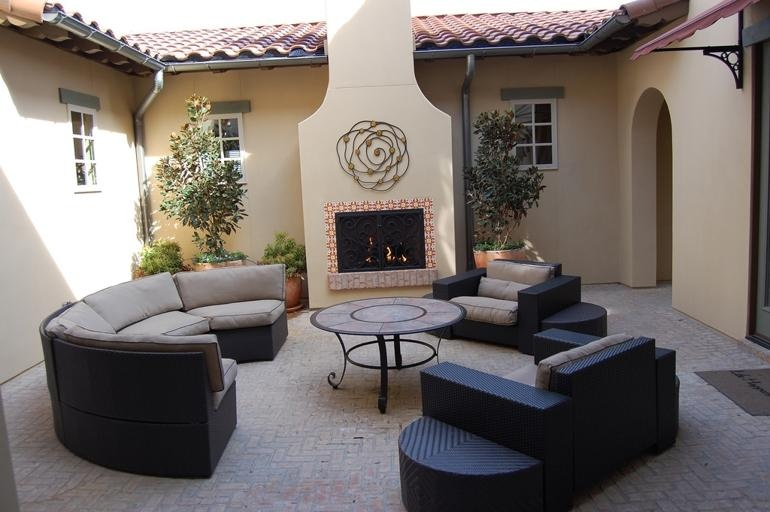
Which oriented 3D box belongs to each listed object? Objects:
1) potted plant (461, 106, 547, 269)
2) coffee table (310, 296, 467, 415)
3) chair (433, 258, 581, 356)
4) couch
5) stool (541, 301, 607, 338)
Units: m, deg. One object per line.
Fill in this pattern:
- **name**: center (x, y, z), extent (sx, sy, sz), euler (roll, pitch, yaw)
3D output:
- **potted plant**: center (2.160, -1.390, 9.833), extent (1.362, 2.540, 1.330), euler (3, 11, 26)
- **coffee table**: center (0.054, 1.289, 6.667), extent (1.473, 0.685, 1.444), euler (1, 13, 6)
- **chair**: center (1.903, 0.736, 7.823), extent (1.815, 1.157, 1.315), euler (4, 10, 44)
- **couch**: center (-2.589, 1.130, 6.634), extent (2.229, 1.476, 3.320), euler (-1, 9, 2)
- **stool**: center (2.509, 0.836, 7.122), extent (0.482, 0.311, 0.664), euler (7, 12, 40)
